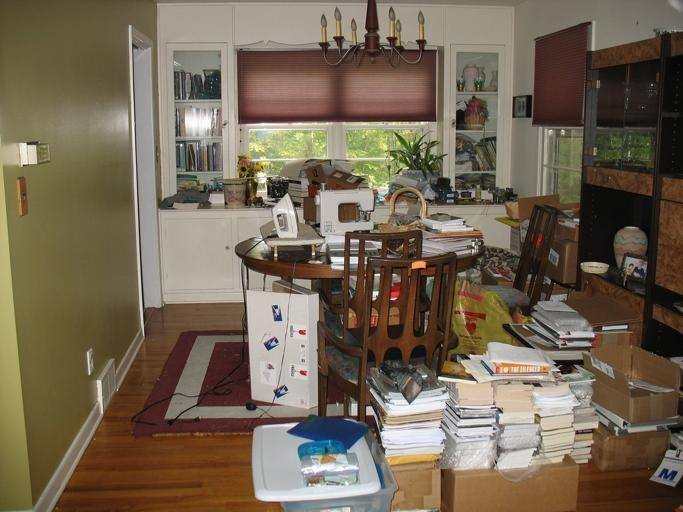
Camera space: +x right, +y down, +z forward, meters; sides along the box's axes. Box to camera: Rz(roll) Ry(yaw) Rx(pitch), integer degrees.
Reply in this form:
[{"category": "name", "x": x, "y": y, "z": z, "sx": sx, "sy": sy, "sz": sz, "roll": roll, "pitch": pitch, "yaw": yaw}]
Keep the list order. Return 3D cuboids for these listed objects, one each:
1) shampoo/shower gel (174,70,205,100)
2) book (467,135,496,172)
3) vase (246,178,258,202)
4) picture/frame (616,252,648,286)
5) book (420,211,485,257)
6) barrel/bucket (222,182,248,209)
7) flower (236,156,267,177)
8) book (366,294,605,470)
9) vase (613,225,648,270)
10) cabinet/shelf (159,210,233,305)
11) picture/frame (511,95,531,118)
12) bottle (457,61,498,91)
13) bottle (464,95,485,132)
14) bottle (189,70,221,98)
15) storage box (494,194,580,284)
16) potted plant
[{"category": "shampoo/shower gel", "x": -1.659, "y": -1.843, "z": 5.634, "sx": 0.299, "sy": 0.292, "sz": 0.073, "roll": -6, "pitch": 14, "yaw": -18}, {"category": "book", "x": 1.601, "y": -1.204, "z": 6.001, "sx": 0.248, "sy": 0.332, "sz": 0.183, "roll": -15, "pitch": 13, "yaw": 8}, {"category": "vase", "x": -0.980, "y": -0.702, "z": 5.654, "sx": 0.110, "sy": 0.264, "sz": 0.212, "roll": -5, "pitch": 15, "yaw": -15}, {"category": "picture/frame", "x": 1.890, "y": 0.088, "z": 3.383, "sx": 0.053, "sy": 0.193, "sz": 0.201, "roll": 5, "pitch": 5, "yaw": -15}, {"category": "book", "x": 0.713, "y": -0.138, "z": 3.369, "sx": 0.283, "sy": 0.109, "sz": 0.294, "roll": -5, "pitch": 20, "yaw": -13}, {"category": "barrel/bucket", "x": -1.129, "y": -0.671, "z": 5.569, "sx": 0.254, "sy": 0.275, "sz": 0.271, "roll": -1, "pitch": 14, "yaw": 0}, {"category": "flower", "x": -1.028, "y": -0.977, "z": 5.728, "sx": 0.308, "sy": 0.240, "sz": 0.211, "roll": 0, "pitch": 14, "yaw": 5}, {"category": "book", "x": 0.746, "y": 0.586, "z": 2.780, "sx": 0.651, "sy": 0.314, "sz": 0.914, "roll": -1, "pitch": 11, "yaw": -2}, {"category": "vase", "x": 1.944, "y": -0.070, "z": 3.530, "sx": 0.195, "sy": 0.295, "sz": 0.205, "roll": 2, "pitch": 22, "yaw": 27}, {"category": "cabinet/shelf", "x": -1.558, "y": -0.027, "z": 5.503, "sx": 0.851, "sy": 0.888, "sz": 0.338, "roll": 1, "pitch": 10, "yaw": -3}, {"category": "picture/frame", "x": 1.945, "y": -1.618, "z": 5.639, "sx": 0.093, "sy": 0.272, "sz": 0.300, "roll": -1, "pitch": 5, "yaw": -7}, {"category": "bottle", "x": 1.502, "y": -2.011, "z": 5.862, "sx": 0.478, "sy": 0.320, "sz": 0.244, "roll": -2, "pitch": 19, "yaw": -9}, {"category": "bottle", "x": 1.523, "y": -1.621, "z": 5.908, "sx": 0.261, "sy": 0.367, "sz": 0.087, "roll": -7, "pitch": 15, "yaw": -22}, {"category": "bottle", "x": -1.473, "y": -1.856, "z": 5.655, "sx": 0.323, "sy": 0.341, "sz": 0.245, "roll": -4, "pitch": 19, "yaw": -12}, {"category": "storage box", "x": 1.650, "y": -0.130, "z": 4.370, "sx": 0.469, "sy": 0.542, "sz": 0.773, "roll": -2, "pitch": 14, "yaw": -7}, {"category": "potted plant", "x": 0.861, "y": -1.102, "z": 5.977, "sx": 0.570, "sy": 0.536, "sz": 0.594, "roll": -4, "pitch": 15, "yaw": -6}]
